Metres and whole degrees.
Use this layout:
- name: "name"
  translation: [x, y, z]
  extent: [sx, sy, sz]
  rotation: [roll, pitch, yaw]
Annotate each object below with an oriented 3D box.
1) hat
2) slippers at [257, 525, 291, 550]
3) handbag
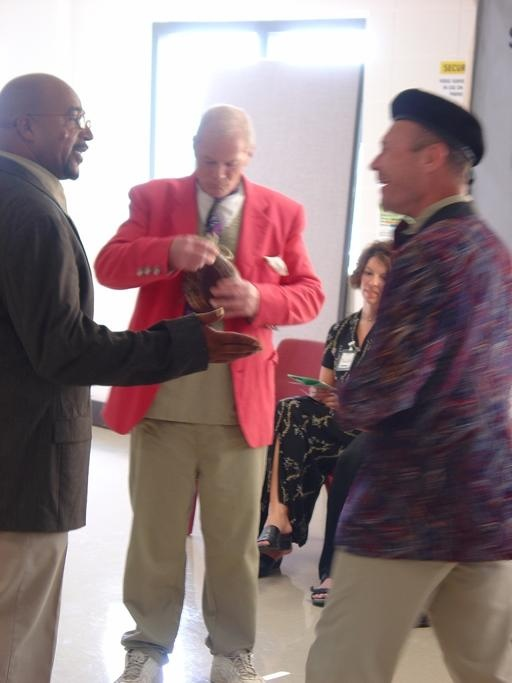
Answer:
- name: "hat"
  translation: [0.334, -0.408, 1.241]
  extent: [0.180, 0.061, 0.139]
  rotation: [30, 3, 3]
- name: "slippers"
  translation: [0.077, 0.833, 2.738]
  extent: [0.073, 0.062, 0.174]
  rotation: [-17, -22, 14]
- name: "handbag"
  translation: [-0.136, -0.179, 1.698]
  extent: [0.174, 0.193, 0.083]
  rotation: [-3, 5, -44]
